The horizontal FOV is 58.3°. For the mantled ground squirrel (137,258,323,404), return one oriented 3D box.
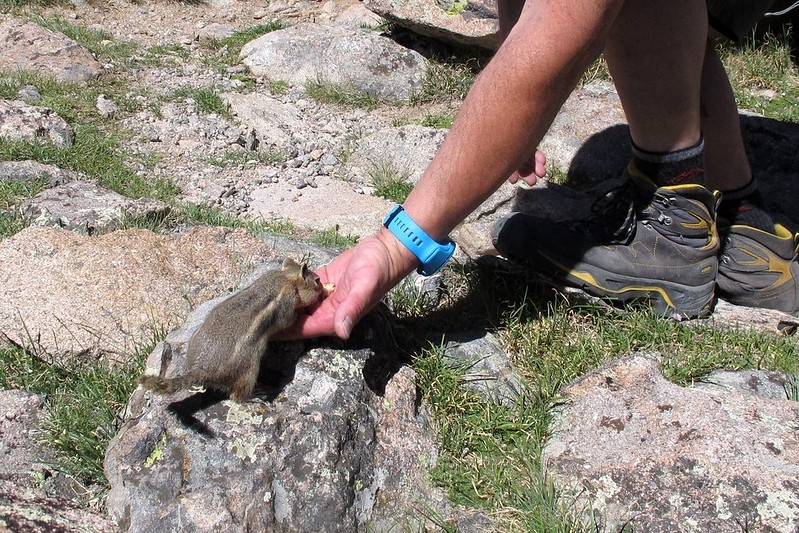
[{"bbox_3d":[-0.869,0.282,4.324,1.357,0.597,0.446,-31,50,-33],"label":"mantled ground squirrel"}]
